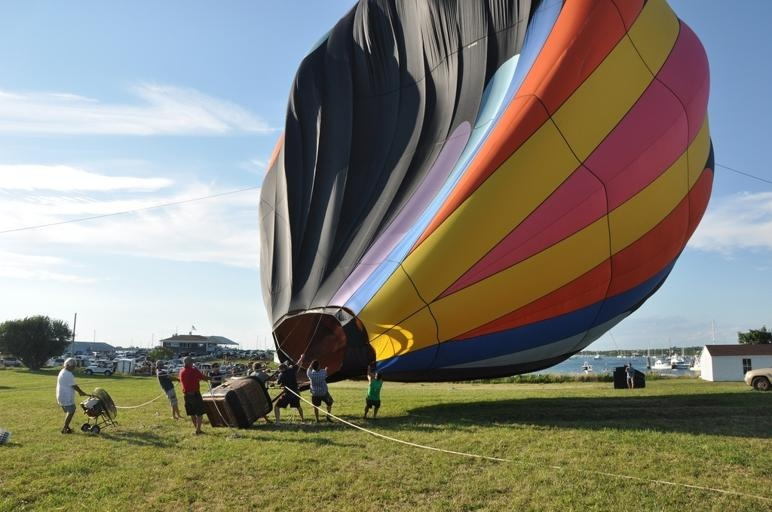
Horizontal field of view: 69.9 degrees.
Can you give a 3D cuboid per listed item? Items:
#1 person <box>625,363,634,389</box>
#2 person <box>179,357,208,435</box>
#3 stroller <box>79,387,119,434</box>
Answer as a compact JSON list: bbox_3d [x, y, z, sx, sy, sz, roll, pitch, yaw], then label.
[{"bbox_3d":[12.197,5.931,27.452,0.482,1.049,0.848,-2,-5,24],"label":"person"},{"bbox_3d":[-5.542,4.038,16.111,0.766,2.199,0.714,-9,-4,13],"label":"person"},{"bbox_3d":[-8.256,4.445,15.903,0.963,1.109,0.859,-5,2,36],"label":"stroller"}]
